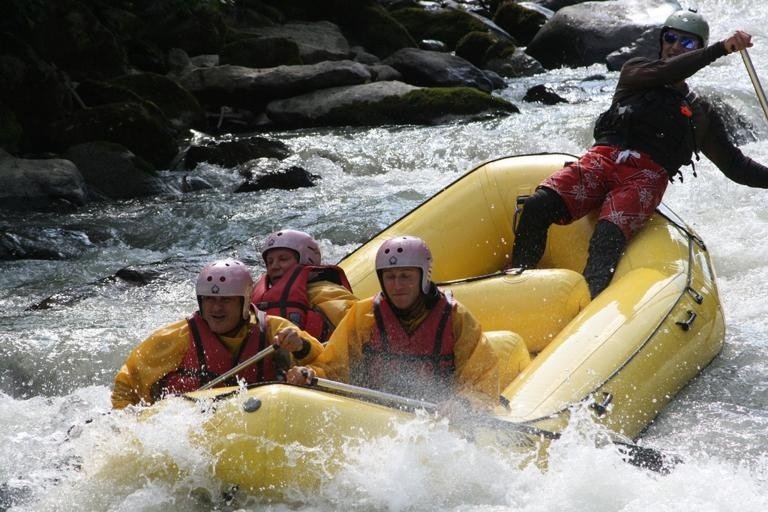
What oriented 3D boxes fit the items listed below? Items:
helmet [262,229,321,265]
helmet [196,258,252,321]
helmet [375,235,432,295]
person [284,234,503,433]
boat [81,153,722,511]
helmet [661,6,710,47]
[{"bbox_3d":[-0.700,-0.046,6.454,0.290,0.278,0.361,-2,10,22],"label":"helmet"},{"bbox_3d":[-1.098,0.225,5.712,0.375,0.355,0.467,3,4,16],"label":"helmet"},{"bbox_3d":[0.141,0.047,5.678,0.339,0.396,0.348,0,48,12],"label":"helmet"},{"bbox_3d":[0.097,0.568,5.984,1.549,1.508,1.103,-1,-13,21],"label":"person"},{"bbox_3d":[0.962,0.651,5.762,2.606,1.166,3.517,3,21,32],"label":"boat"},{"bbox_3d":[2.494,-1.892,6.810,0.311,0.336,0.379,17,35,1],"label":"helmet"}]
